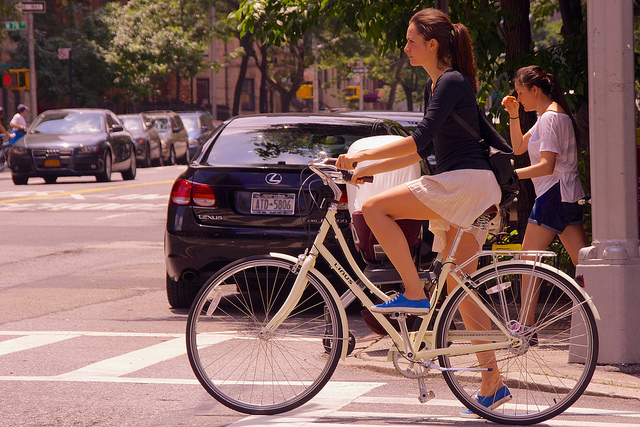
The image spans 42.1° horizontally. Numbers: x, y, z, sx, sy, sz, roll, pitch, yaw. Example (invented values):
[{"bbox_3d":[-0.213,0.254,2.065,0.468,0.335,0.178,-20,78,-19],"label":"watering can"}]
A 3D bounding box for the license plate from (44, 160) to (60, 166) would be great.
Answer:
[{"bbox_3d":[-7.462,-1.402,23.127,0.428,0.161,0.066,0,8,6],"label":"license plate"}]

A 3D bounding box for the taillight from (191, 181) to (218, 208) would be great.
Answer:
[{"bbox_3d":[-1.208,-0.189,8.671,0.287,0.247,0.047,2,8,19],"label":"taillight"}]

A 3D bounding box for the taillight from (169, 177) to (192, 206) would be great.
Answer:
[{"bbox_3d":[-1.461,-0.207,8.791,0.221,0.304,0.129,6,-5,23],"label":"taillight"}]

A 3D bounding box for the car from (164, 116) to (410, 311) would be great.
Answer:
[{"bbox_3d":[-0.662,-0.154,8.653,1.578,1.219,2.910,0,1,13],"label":"car"}]

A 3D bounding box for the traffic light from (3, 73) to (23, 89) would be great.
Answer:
[{"bbox_3d":[-13.212,-5.668,35.601,1.162,0.683,0.520,6,10,38],"label":"traffic light"}]

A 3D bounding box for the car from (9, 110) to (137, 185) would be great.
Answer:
[{"bbox_3d":[-7.206,-2.007,25.189,2.529,2.230,4.639,2,8,19],"label":"car"}]

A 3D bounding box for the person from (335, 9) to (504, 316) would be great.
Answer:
[{"bbox_3d":[0.762,-0.353,5.812,1.028,2.145,0.748,1,8,12],"label":"person"}]

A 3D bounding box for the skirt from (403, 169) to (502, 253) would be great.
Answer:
[{"bbox_3d":[0.922,-0.015,5.929,0.612,0.549,0.475,4,15,4],"label":"skirt"}]

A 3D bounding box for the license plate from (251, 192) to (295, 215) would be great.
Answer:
[{"bbox_3d":[-0.489,-0.102,8.578,0.442,0.211,0.025,1,8,9],"label":"license plate"}]
